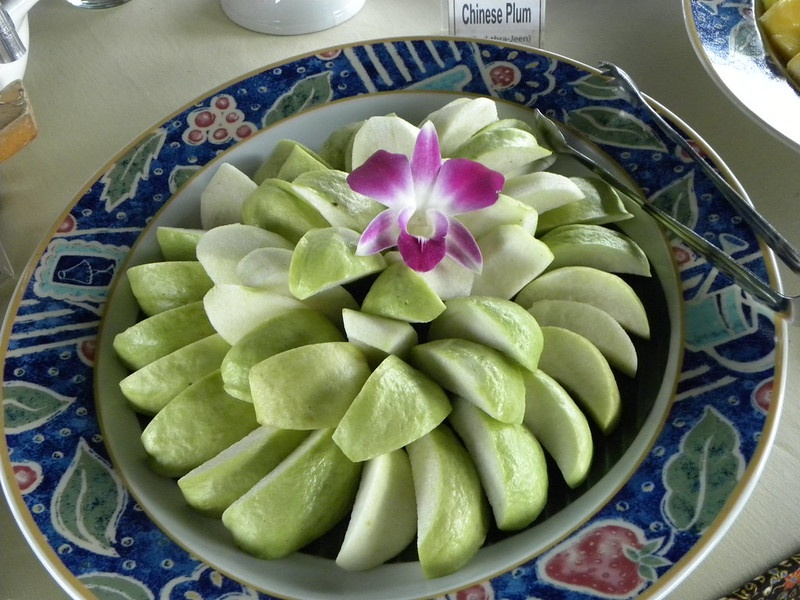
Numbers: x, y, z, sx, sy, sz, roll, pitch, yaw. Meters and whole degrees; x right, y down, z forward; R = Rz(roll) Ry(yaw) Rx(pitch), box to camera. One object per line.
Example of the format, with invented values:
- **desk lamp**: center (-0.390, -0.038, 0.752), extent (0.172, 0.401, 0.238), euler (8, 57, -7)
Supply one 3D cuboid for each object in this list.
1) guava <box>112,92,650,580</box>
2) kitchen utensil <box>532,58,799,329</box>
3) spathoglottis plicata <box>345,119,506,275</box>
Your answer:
- **guava**: center (0.024, 0.067, 0.901), extent (0.488, 0.203, 0.510), euler (32, 74, 16)
- **kitchen utensil**: center (0.275, -0.119, 0.872), extent (0.137, 0.037, 0.412), euler (-36, 65, -22)
- **spathoglottis plicata**: center (0.025, -0.089, 0.752), extent (0.155, 0.142, 0.051), euler (9, 48, 42)
